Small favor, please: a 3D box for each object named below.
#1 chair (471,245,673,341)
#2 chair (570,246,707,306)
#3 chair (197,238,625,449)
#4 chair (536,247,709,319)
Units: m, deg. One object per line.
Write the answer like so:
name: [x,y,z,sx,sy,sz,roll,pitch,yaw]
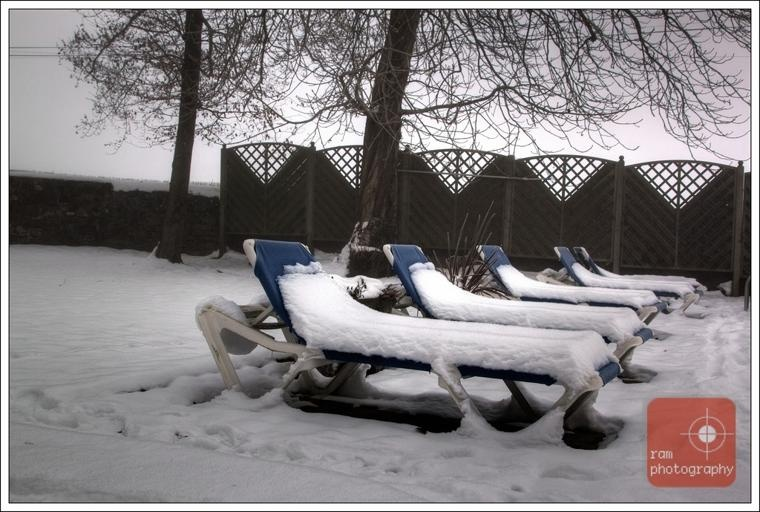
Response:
chair: [1.834,0.334,5.641,1.718,0.713,0.954,6,5,16]
chair: [3.048,0.243,7.038,1.450,0.653,1.010,0,5,16]
chair: [0.209,0.421,4.121,2.719,1.048,1.339,1,3,18]
chair: [3.023,0.299,6.953,1.526,0.681,1.133,4,4,17]
